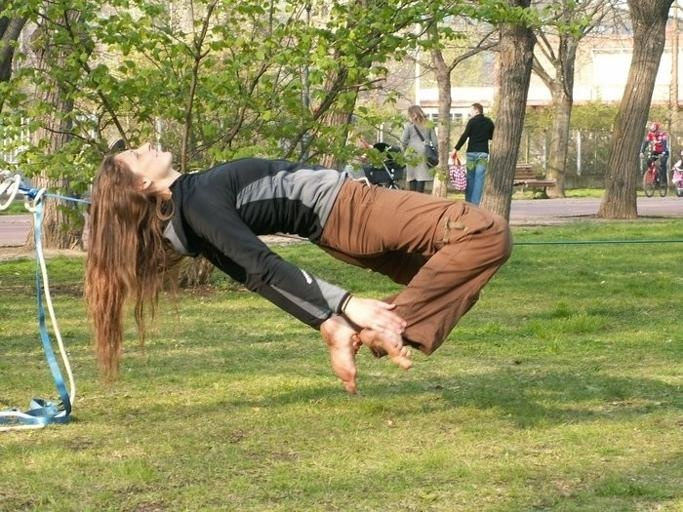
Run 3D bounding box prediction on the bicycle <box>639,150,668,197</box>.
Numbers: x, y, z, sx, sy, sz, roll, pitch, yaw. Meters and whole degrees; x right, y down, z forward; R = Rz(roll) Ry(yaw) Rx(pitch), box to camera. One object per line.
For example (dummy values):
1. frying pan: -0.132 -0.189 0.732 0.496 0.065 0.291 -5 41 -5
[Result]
1. bicycle: 8.386 -2.154 31.285 0.925 0.944 1.792 -1 1 24
